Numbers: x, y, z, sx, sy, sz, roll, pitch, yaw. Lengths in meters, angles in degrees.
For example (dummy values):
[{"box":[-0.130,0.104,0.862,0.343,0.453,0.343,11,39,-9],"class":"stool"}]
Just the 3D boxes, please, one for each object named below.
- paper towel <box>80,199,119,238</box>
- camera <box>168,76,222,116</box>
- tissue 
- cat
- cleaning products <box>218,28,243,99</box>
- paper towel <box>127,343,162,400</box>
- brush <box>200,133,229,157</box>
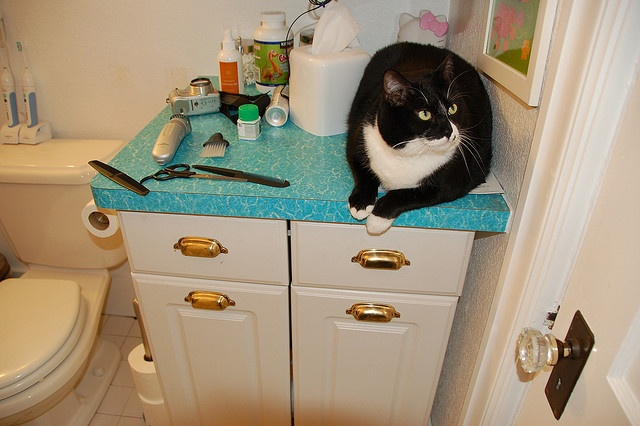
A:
[{"box":[-0.634,0.010,1.307,0.112,0.101,0.107,-2,23,-2],"class":"paper towel"},{"box":[-0.392,-0.360,1.419,0.174,0.113,0.123,-3,29,-13],"class":"camera"},{"box":[0.040,-0.428,1.402,0.251,0.376,0.185,25,40,32],"class":"tissue "},{"box":[0.247,-0.201,1.148,0.396,0.368,0.303,-6,32,-6],"class":"cat"},{"box":[-0.294,-0.488,1.486,0.082,0.209,0.083,-16,32,-29],"class":"cleaning products"},{"box":[-0.585,0.558,1.590,0.132,0.172,0.109,-19,33,-35],"class":"paper towel"},{"box":[-0.297,-0.193,1.277,0.076,0.034,0.101,-4,32,-3],"class":"brush"}]
